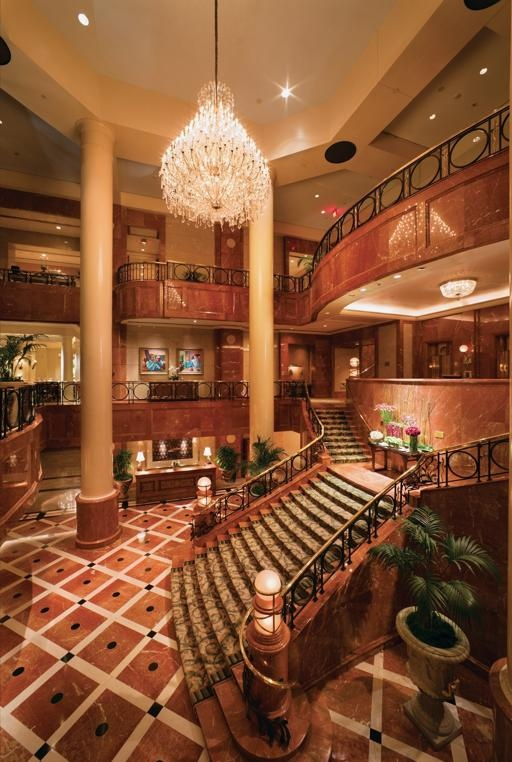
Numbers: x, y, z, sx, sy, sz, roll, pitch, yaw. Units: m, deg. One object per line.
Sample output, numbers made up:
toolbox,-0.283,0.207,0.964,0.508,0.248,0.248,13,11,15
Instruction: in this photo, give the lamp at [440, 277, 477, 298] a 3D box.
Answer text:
lamp,3.646,-1.687,9.244,0.490,0.347,0.622,1,12,-11

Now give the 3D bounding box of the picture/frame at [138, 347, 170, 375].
picture/frame,-3.001,-0.571,14.884,0.783,0.771,0.080,0,-3,-30

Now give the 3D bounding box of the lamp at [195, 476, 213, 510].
lamp,-0.962,2.078,9.749,0.251,0.680,0.747,2,12,-7

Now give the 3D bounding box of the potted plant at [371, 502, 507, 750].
potted plant,2.285,2.986,6.858,1.511,2.298,2.326,9,13,27

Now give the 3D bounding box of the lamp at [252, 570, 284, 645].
lamp,0.133,2.456,5.646,0.328,0.765,0.232,4,11,1

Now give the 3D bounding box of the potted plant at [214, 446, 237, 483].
potted plant,-0.849,2.465,15.294,0.653,1.004,0.603,3,11,-5

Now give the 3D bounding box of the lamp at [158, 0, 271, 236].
lamp,-0.539,-3.957,7.660,1.546,3.174,2.056,3,11,-2

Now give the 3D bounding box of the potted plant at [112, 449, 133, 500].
potted plant,-3.508,2.493,13.505,0.494,0.981,1.722,1,12,-14
